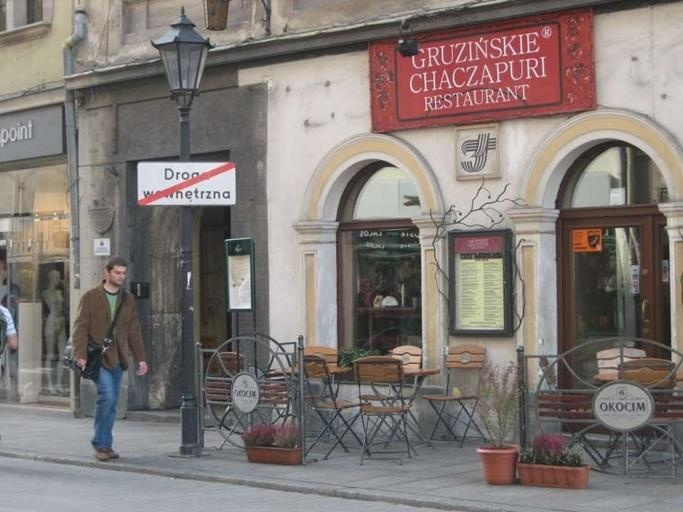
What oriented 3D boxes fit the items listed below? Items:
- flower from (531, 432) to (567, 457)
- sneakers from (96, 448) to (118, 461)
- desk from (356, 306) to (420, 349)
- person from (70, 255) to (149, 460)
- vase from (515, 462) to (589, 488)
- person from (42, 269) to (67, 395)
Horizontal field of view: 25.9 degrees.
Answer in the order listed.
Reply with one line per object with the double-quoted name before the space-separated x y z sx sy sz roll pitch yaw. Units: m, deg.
"flower" 2.403 2.212 17.409 0.293 0.162 0.239 -3 -6 42
"sneakers" -3.031 2.586 19.195 0.291 0.130 0.109 2 -5 -15
"desk" 0.699 1.035 21.468 0.537 0.523 0.234 -6 -13 36
"person" -3.024 1.321 19.225 0.991 2.636 0.559 2 -6 -26
"vase" 2.448 2.563 17.308 0.798 0.298 0.288 -1 -6 4
"person" -4.770 1.263 24.837 0.231 2.102 0.730 4 -7 -39
